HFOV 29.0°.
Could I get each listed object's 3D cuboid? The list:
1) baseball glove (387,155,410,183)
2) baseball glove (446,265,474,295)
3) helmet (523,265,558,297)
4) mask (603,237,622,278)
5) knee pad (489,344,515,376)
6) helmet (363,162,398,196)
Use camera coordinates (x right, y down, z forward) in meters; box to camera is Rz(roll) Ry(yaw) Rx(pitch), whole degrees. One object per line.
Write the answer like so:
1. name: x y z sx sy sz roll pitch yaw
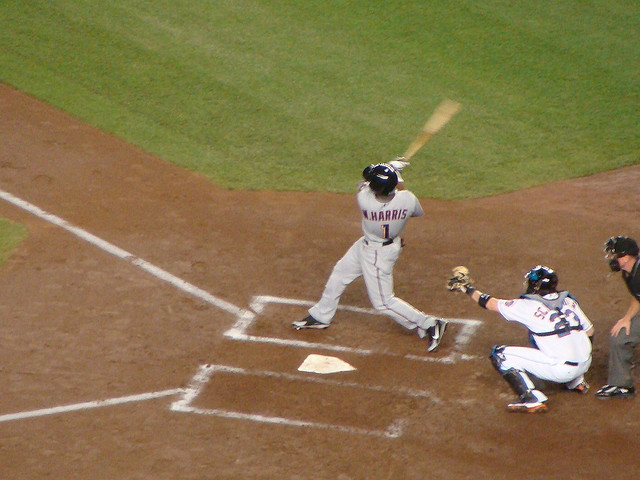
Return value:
1. baseball glove: 1.045 -0.931 16.588 0.354 0.161 0.614 1 11 5
2. baseball glove: 1.754 0.538 16.341 0.412 0.352 0.185 -19 48 36
3. helmet: 2.858 0.507 15.863 0.476 0.426 0.368 9 29 18
4. mask: 3.685 0.224 15.797 0.200 0.419 0.322 -10 7 -5
5. knee pad: 2.318 1.538 16.117 0.139 0.275 0.352 -25 39 12
6. helmet: 0.770 -0.813 16.170 0.428 0.342 0.450 -25 19 5
